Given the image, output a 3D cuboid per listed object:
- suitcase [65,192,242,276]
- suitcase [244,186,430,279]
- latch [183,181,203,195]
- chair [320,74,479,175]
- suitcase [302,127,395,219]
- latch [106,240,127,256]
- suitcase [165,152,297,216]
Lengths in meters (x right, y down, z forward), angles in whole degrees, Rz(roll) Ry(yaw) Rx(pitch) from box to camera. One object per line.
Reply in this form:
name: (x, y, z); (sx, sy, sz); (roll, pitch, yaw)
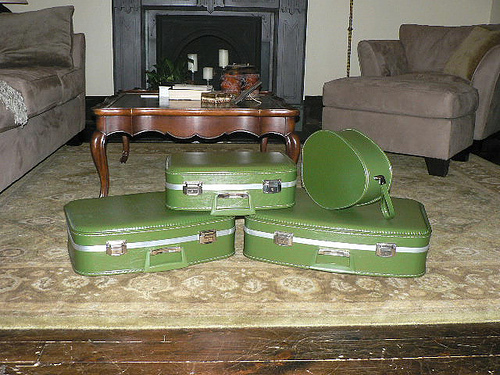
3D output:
suitcase: (-0.386, 0.172, 1.684); (0.605, 0.246, 0.347); (-5, 19, -21)
suitcase: (0.335, 0.170, 1.698); (0.703, 0.260, 0.354); (5, 18, 11)
latch: (-0.220, 0.003, 1.627); (0.067, 0.035, 0.057); (0, 12, -5)
chair: (1.157, -0.512, 3.318); (1.003, 0.485, 0.711); (15, 23, 34)
suitcase: (0.388, -0.069, 1.759); (0.175, 0.297, 0.490); (-14, 19, -33)
latch: (-0.474, 0.215, 1.518); (0.070, 0.060, 0.013); (-2, 21, -12)
suitcase: (-0.075, -0.029, 1.899); (0.623, 0.216, 0.488); (-3, 14, -15)
